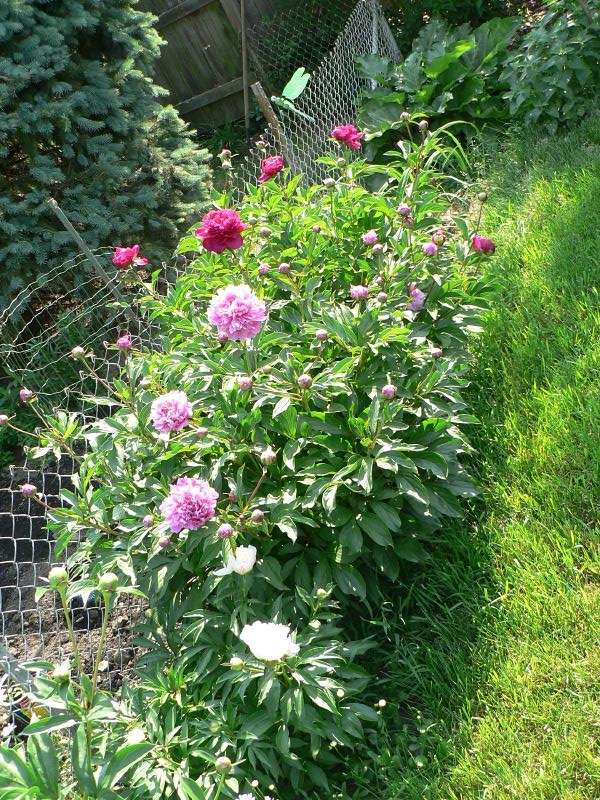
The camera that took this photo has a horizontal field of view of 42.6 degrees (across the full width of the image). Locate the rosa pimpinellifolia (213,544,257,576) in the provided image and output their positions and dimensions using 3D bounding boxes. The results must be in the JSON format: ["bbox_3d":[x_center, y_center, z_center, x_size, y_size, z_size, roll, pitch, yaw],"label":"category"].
[{"bbox_3d":[-0.145,0.368,1.824,0.112,0.054,0.081,-12,39,26],"label":"rosa pimpinellifolia"}]

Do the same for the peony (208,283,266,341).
[{"bbox_3d":[-0.157,-0.242,2.124,0.168,0.139,0.126,-3,6,8],"label":"peony"}]
